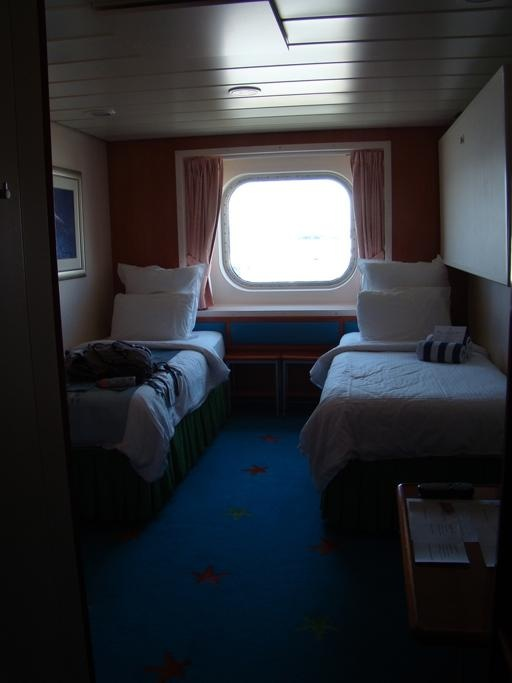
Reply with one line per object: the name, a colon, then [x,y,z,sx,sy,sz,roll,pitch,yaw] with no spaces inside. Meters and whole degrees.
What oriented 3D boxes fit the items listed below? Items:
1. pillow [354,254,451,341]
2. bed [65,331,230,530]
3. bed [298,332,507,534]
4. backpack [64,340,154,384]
pillow: [1.153,-0.326,3.848,0.730,0.584,0.699,-1,6,9]
bed: [-0.756,0.415,3.414,0.949,0.720,1.878,-2,9,10]
bed: [0.699,0.413,2.327,0.575,0.406,1.136,0,9,6]
backpack: [-0.851,0.127,2.839,0.273,0.135,0.326,0,8,-6]
